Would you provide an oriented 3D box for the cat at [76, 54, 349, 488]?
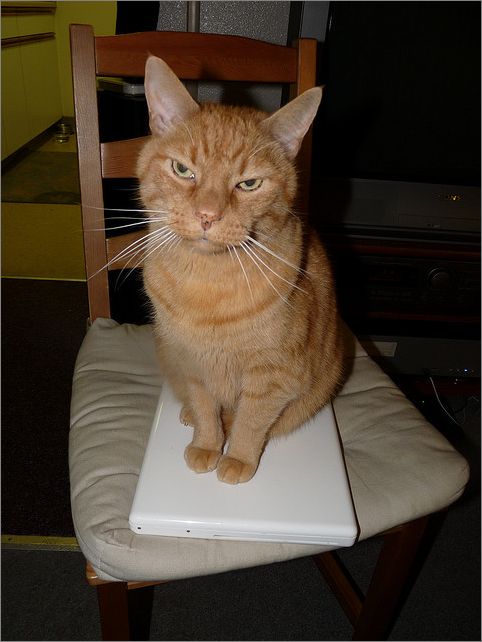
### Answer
[{"bbox_3d":[0.002,-0.094,0.873,0.335,0.581,0.417,22,28,30],"label":"cat"}]
